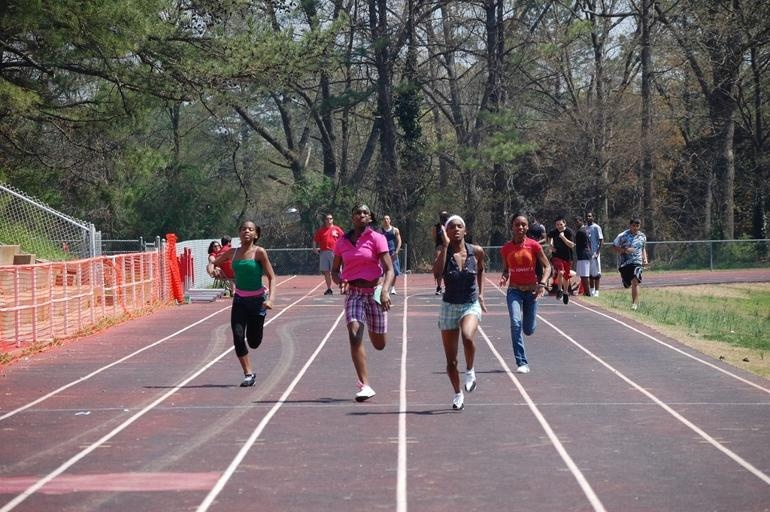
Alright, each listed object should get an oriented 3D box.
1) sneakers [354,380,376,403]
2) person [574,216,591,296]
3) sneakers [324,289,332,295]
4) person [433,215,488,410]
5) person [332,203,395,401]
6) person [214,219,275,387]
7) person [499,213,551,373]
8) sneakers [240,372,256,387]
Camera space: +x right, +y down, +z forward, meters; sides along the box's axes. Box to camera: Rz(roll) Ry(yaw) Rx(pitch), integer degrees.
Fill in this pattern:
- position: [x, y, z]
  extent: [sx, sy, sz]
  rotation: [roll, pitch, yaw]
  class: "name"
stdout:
- position: [-0.347, 2.042, 12.579]
  extent: [0.240, 0.310, 0.260]
  rotation: [-3, 2, -25]
  class: "sneakers"
- position: [6.279, 0.178, 26.554]
  extent: [0.478, 2.207, 1.311]
  rotation: [-2, 2, 14]
  class: "person"
- position: [-1.915, 1.197, 28.025]
  extent: [0.143, 0.179, 0.379]
  rotation: [-1, 2, -13]
  class: "sneakers"
- position: [1.112, 0.822, 12.296]
  extent: [0.588, 2.813, 0.805]
  rotation: [-1, 2, 39]
  class: "person"
- position: [-0.353, 0.689, 12.754]
  extent: [0.892, 2.980, 1.150]
  rotation: [-2, 2, -3]
  class: "person"
- position: [-2.248, 0.772, 13.695]
  extent: [0.789, 2.669, 0.670]
  rotation: [-2, 2, -10]
  class: "person"
- position: [2.420, 0.642, 14.598]
  extent: [0.749, 2.726, 0.745]
  rotation: [-2, 2, 7]
  class: "person"
- position: [-2.258, 2.031, 13.764]
  extent: [0.114, 0.168, 0.358]
  rotation: [-2, -5, 22]
  class: "sneakers"
